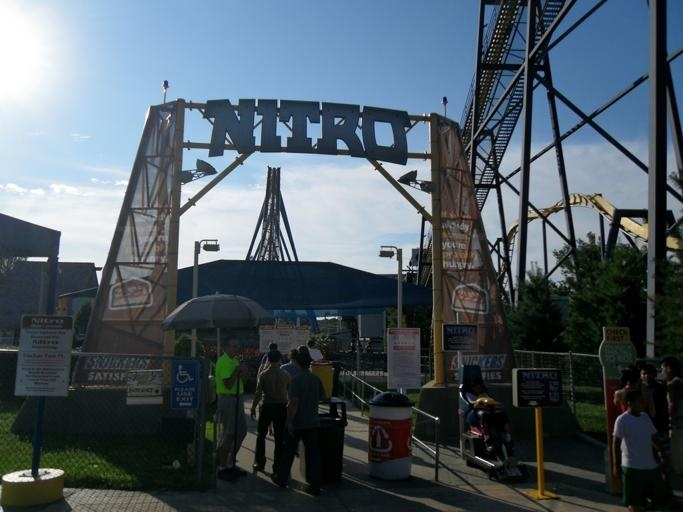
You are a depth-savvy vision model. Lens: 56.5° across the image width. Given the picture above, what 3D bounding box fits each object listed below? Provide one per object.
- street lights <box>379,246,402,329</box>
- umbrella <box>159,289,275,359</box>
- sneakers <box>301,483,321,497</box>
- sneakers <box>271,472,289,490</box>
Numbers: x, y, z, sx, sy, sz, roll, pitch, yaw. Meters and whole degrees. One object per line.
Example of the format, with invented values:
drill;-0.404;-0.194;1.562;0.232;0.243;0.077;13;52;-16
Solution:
street lights;1.528;0.776;18.785;0.700;2.285;0.253;4;24;15
umbrella;-2.447;1.113;12.691;2.067;0.814;2.153;4;-13;-32
sneakers;-0.525;3.976;10.815;0.365;0.274;0.122;-11;-10;43
sneakers;-1.056;3.916;11.212;0.271;0.253;0.528;-1;6;-20
